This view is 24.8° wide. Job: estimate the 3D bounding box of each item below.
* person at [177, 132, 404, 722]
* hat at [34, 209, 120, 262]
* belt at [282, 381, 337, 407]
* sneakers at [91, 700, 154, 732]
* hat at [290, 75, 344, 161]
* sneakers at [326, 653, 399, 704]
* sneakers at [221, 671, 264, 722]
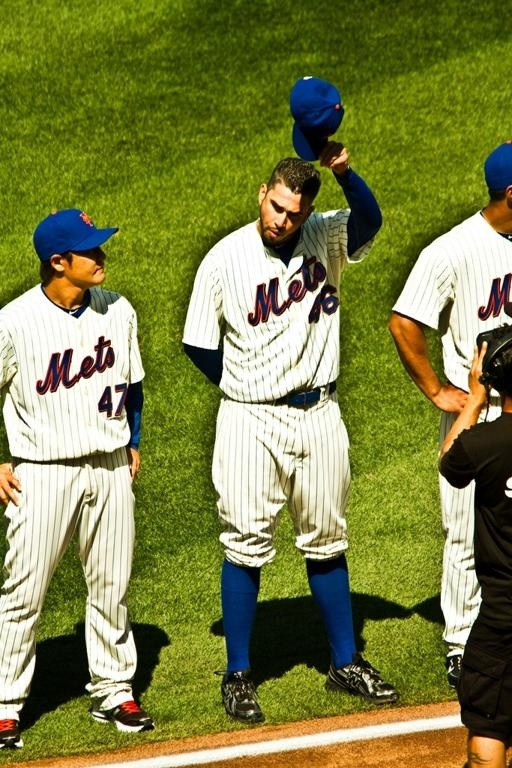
[{"bbox_3d":[0.123,0.188,4.617,0.767,2.219,0.469,-4,11,-6],"label":"person"},{"bbox_3d":[-0.699,-0.560,4.511,0.275,0.175,0.203,-22,16,10],"label":"hat"},{"bbox_3d":[0.219,0.054,4.611,0.303,0.078,0.069,-14,16,-37],"label":"belt"},{"bbox_3d":[-0.529,1.316,4.637,0.242,0.136,0.108,3,4,33],"label":"sneakers"},{"bbox_3d":[0.239,-1.029,4.449,0.192,0.332,0.174,-12,23,-40],"label":"hat"},{"bbox_3d":[0.432,1.208,4.750,0.119,0.162,0.302,-6,10,-40],"label":"sneakers"},{"bbox_3d":[-0.062,1.245,4.669,0.083,0.114,0.255,-3,13,-12],"label":"sneakers"}]
